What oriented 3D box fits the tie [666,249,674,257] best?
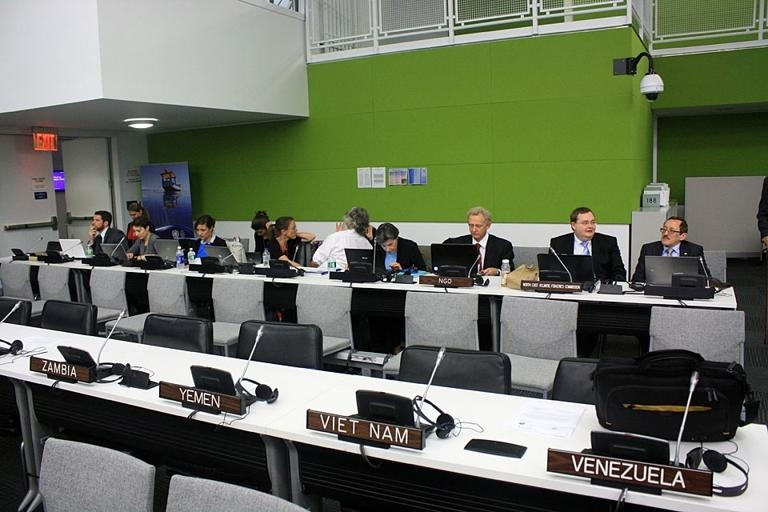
[{"bbox_3d":[2.839,-0.027,5.692,0.059,0.060,0.018,3,-9,43],"label":"tie"}]

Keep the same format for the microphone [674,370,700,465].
[{"bbox_3d":[1.406,0.762,2.687,0.089,0.409,0.312,3,6,33],"label":"microphone"}]

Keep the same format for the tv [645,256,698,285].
[{"bbox_3d":[2.446,0.039,4.921,0.363,0.254,0.260,2,6,28],"label":"tv"}]

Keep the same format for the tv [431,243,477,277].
[{"bbox_3d":[0.603,0.092,5.490,0.317,0.360,0.407,19,5,23],"label":"tv"}]

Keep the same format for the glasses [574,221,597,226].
[{"bbox_3d":[2.122,-0.334,5.971,0.233,0.067,0.101,-4,7,-35],"label":"glasses"}]

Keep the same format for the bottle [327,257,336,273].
[{"bbox_3d":[-0.565,0.113,6.299,0.129,0.145,0.132,-1,4,-1],"label":"bottle"}]

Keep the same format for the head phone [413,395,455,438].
[{"bbox_3d":[0.271,0.836,3.121,0.221,0.168,0.371,0,6,4],"label":"head phone"}]

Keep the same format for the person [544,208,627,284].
[{"bbox_3d":[2.133,0.085,6.099,0.765,1.145,0.643,0,3,18],"label":"person"}]

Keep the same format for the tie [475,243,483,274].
[{"bbox_3d":[1.008,0.031,6.156,0.084,0.294,0.207,-3,4,10],"label":"tie"}]

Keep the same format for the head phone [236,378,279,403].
[{"bbox_3d":[-0.750,0.809,3.369,0.188,0.070,0.168,20,3,-31],"label":"head phone"}]

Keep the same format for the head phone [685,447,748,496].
[{"bbox_3d":[1.509,0.974,2.600,0.202,0.077,0.187,26,43,29],"label":"head phone"}]

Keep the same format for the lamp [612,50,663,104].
[{"bbox_3d":[3.306,-2.346,7.536,0.257,0.577,0.620,-7,11,-39],"label":"lamp"}]

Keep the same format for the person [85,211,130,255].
[{"bbox_3d":[-3.973,-0.247,8.217,0.522,0.743,0.435,-8,-6,25],"label":"person"}]

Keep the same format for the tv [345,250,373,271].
[{"bbox_3d":[-0.247,0.022,5.696,0.271,0.270,0.196,1,11,14],"label":"tv"}]
